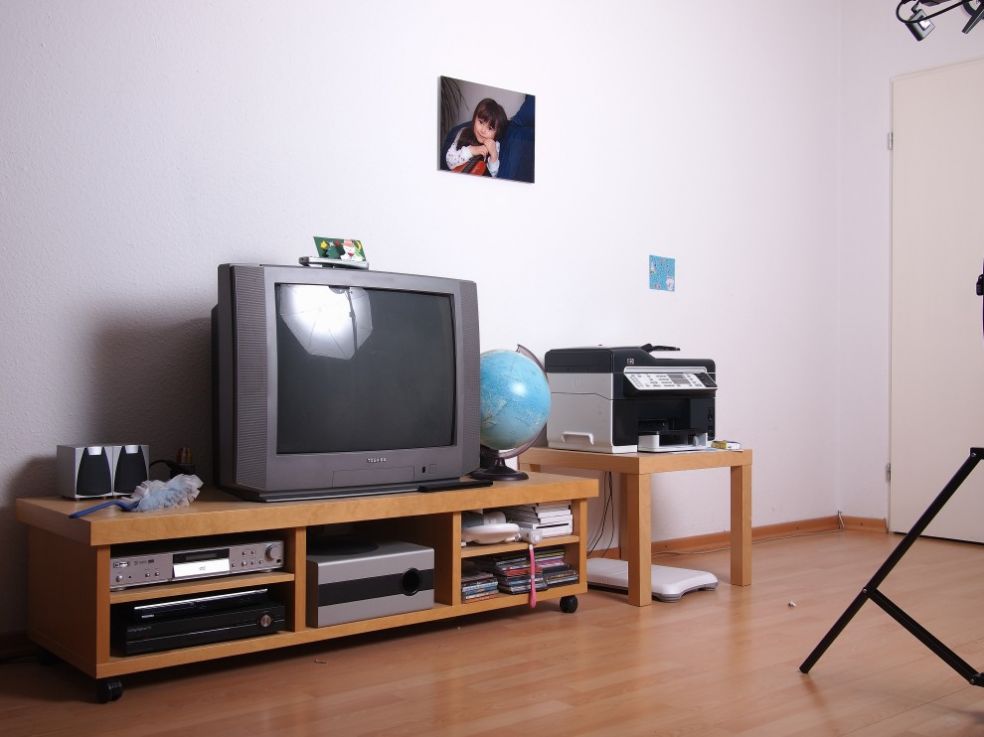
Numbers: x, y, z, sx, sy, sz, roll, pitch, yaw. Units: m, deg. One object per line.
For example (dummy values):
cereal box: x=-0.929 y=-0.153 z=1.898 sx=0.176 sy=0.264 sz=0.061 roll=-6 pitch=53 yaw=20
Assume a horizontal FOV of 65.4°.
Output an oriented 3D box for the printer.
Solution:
printer: x=0.617 y=0.138 z=3.403 sx=0.644 sy=0.449 sz=0.485 roll=0 pitch=-2 yaw=-39

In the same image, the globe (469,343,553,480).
globe: x=0.068 y=0.162 z=3.130 sx=0.253 sy=0.536 sz=0.269 roll=5 pitch=2 yaw=-23

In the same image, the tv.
tv: x=-0.501 y=0.058 z=2.845 sx=1.197 sy=1.006 sz=0.683 roll=0 pitch=-1 yaw=-34
